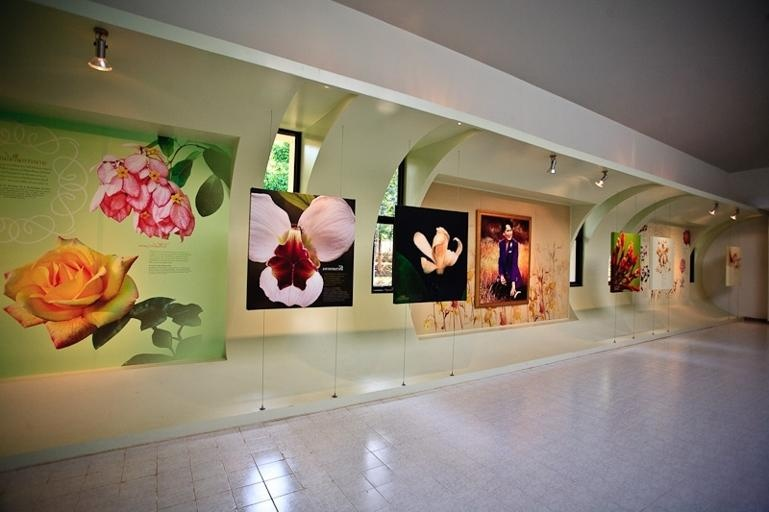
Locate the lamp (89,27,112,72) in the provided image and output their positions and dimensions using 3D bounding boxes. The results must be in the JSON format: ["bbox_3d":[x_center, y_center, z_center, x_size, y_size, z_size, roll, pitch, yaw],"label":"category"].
[{"bbox_3d":[-2.668,-1.924,4.209,0.177,0.397,0.042,-1,11,-15],"label":"lamp"}]

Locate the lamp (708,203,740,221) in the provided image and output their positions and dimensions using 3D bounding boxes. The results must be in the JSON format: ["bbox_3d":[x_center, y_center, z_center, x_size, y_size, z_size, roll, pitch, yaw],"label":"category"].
[{"bbox_3d":[8.746,-1.160,11.707,0.920,0.278,0.340,-3,8,-23],"label":"lamp"}]
